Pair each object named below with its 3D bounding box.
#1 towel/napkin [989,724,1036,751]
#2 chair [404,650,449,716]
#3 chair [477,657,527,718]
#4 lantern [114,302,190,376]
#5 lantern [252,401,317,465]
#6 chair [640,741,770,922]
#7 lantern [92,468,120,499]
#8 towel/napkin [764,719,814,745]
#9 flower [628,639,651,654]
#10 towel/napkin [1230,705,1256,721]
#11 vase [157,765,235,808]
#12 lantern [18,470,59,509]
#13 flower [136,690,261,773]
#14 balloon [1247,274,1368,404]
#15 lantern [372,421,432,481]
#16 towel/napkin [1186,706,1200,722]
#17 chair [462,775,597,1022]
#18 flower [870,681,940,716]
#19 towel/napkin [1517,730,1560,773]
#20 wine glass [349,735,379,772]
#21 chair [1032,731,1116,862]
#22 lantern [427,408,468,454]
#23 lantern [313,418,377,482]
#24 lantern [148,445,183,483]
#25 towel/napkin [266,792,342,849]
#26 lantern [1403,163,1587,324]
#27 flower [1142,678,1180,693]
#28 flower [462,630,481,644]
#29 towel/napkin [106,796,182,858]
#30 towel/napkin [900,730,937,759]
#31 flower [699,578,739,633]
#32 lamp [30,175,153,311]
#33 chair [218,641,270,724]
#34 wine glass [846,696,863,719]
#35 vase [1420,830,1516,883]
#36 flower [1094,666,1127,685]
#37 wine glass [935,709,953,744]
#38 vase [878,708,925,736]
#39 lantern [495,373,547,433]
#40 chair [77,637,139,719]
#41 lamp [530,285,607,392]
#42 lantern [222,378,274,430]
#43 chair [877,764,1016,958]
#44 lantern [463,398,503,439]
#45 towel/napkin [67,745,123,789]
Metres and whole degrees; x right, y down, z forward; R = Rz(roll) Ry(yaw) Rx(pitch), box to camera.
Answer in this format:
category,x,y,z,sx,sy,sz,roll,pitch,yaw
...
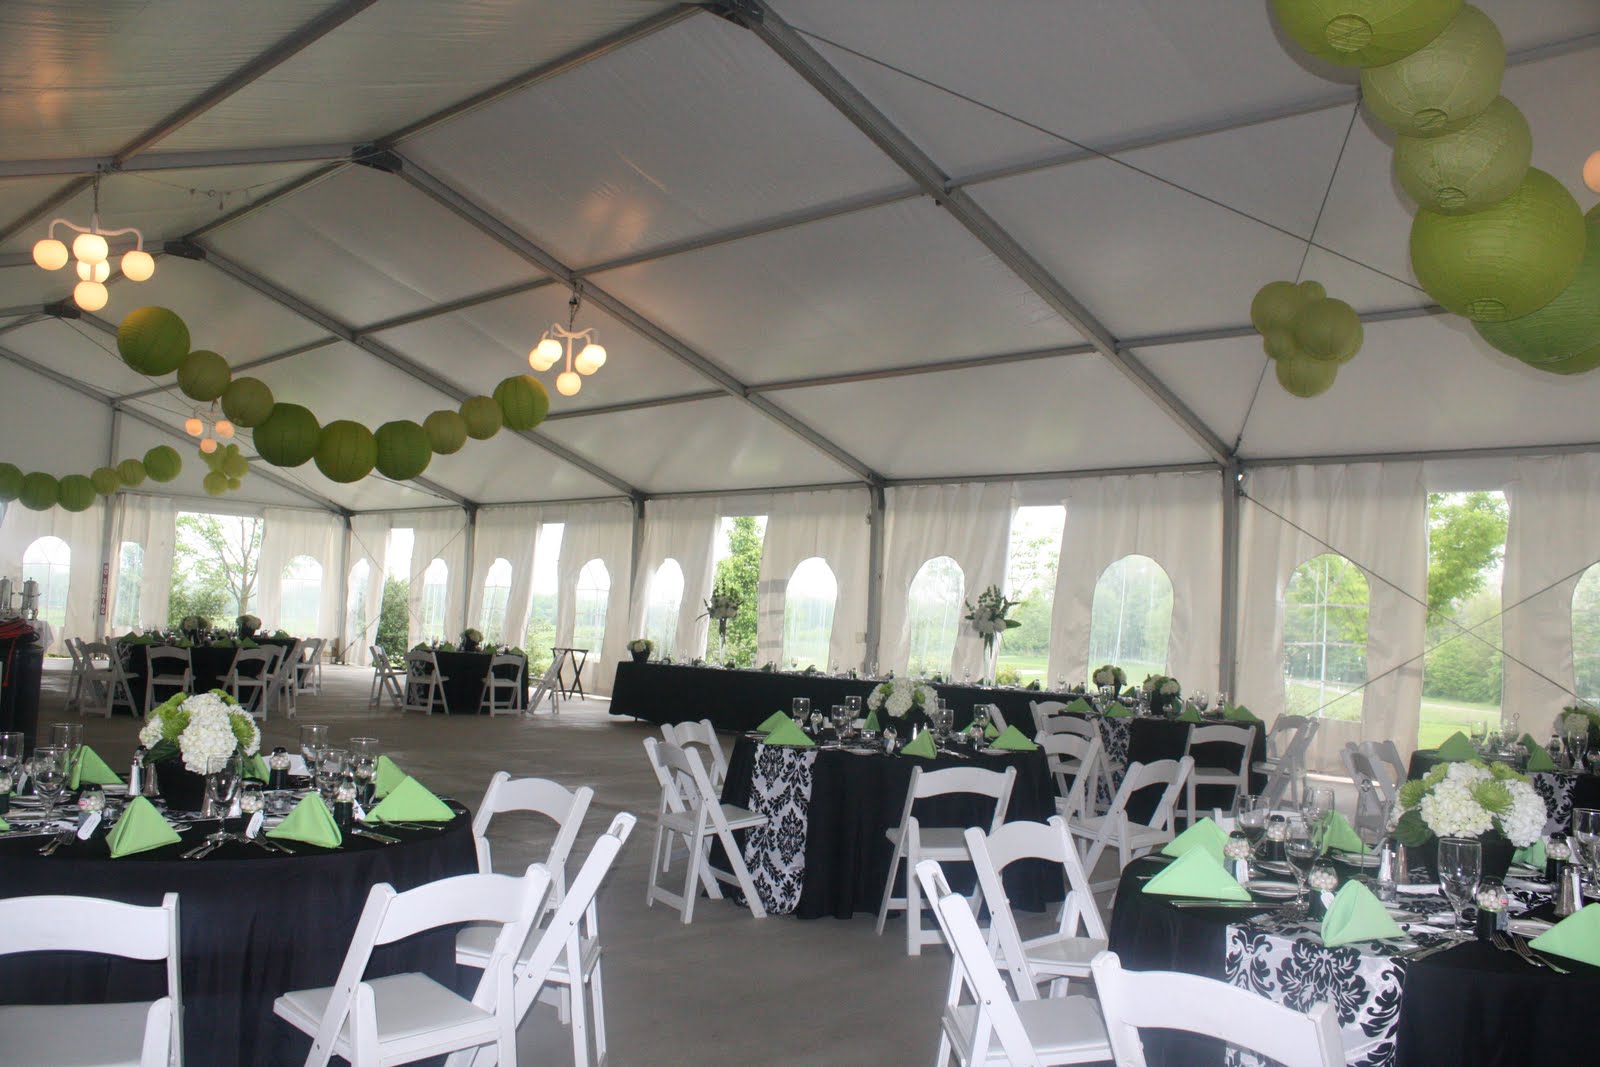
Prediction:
category,x,y,z,sx,sy,sz,roll,pitch,yaw
towel/napkin,1.321,1.288,6.497,0.260,0.159,0.165,-13,-3,24
chair,-4.847,1.916,13.714,0.594,0.826,0.476,0,-7,29
chair,-3.869,1.991,13.853,0.521,1.034,0.715,1,1,-30
lantern,-5.188,-1.527,8.433,0.530,0.647,0.563,-2,2,-18
lantern,-4.313,-0.826,9.021,0.475,0.613,0.500,1,0,-2
chair,-0.542,1.740,6.156,0.603,0.979,0.637,-1,-4,37
lantern,-8.827,-0.683,13.310,0.272,0.320,0.386,7,-8,-33
towel/napkin,-0.048,1.207,6.250,0.182,0.093,0.175,6,-6,-36
flower,-2.099,1.517,13.905,0.265,0.213,0.402,4,-7,-5
towel/napkin,3.733,1.536,8.819,0.174,0.119,0.182,-5,-13,29
vase,-2.428,0.976,4.161,0.190,0.167,0.232,2,-10,-10
lantern,-9.252,-0.526,12.694,0.403,0.535,0.431,-1,1,13
flower,-2.337,0.737,4.091,0.317,0.235,0.354,7,0,-6
balloon,2.875,-1.141,5.861,0.505,0.671,0.528,8,-8,-40
lantern,-3.495,-0.731,9.463,0.457,0.604,0.489,-1,1,10
towel/napkin,3.286,1.509,8.724,0.099,0.083,0.106,-1,-5,13
chair,-1.150,1.576,4.493,0.635,0.847,0.636,-11,-1,-7
flower,0.682,1.087,6.881,0.346,0.258,0.385,-3,-7,33
towel/napkin,4.609,1.366,6.498,0.232,0.177,0.239,0,-1,39
wine glass,-1.763,0.901,4.239,0.113,0.124,0.210,6,-7,-22
chair,2.375,2.022,8.376,0.769,0.719,0.587,14,-4,45
lantern,-3.330,-0.982,9.811,0.411,0.421,0.310,9,-8,-41
lantern,-3.889,-0.701,9.121,0.477,0.625,0.509,0,1,3
lantern,-8.061,-0.896,13.216,0.374,0.462,0.730,7,-8,-34
towel/napkin,-1.800,1.083,3.870,0.204,0.108,0.219,6,2,9
lantern,2.778,-1.084,4.340,0.565,0.737,0.612,1,-3,5
flower,3.163,1.323,9.110,0.191,0.105,0.164,8,-2,31
flower,-4.435,1.422,14.243,0.205,0.224,0.189,-1,-3,24
towel/napkin,-2.333,1.051,3.742,0.203,0.198,0.194,-4,-6,-16
towel/napkin,0.714,1.296,6.257,0.203,0.206,0.124,3,-34,10
flower,-1.061,1.013,14.119,0.401,0.657,1.241,4,-7,-7
lamp,-5.085,-2.059,7.553,0.646,0.941,0.677,0,-2,-22
chair,-6.347,1.730,12.099,0.536,0.714,0.501,-5,-10,39
wine glass,0.349,1.092,6.555,0.049,0.120,0.251,2,-7,16
vase,2.312,1.109,3.610,0.240,0.226,0.279,1,-8,-2
flower,2.963,1.359,9.953,0.322,0.194,0.256,3,-7,2
wine glass,0.954,1.262,6.878,0.145,0.185,0.156,-1,-6,15
vase,0.732,1.323,7.312,0.284,0.309,0.172,2,-4,-14
lantern,-2.608,-1.235,10.007,0.449,0.559,0.477,-1,1,-7
chair,-8.036,1.604,12.036,0.468,0.915,0.630,0,-3,-10
lamp,-2.016,-1.704,9.302,0.605,0.976,0.675,3,-2,38
lantern,-4.675,-1.099,8.982,0.390,0.501,0.404,4,-14,-24
chair,0.785,1.751,5.677,0.705,0.942,0.703,11,-5,-17
lantern,-2.982,-1.091,9.935,0.330,0.427,0.339,8,11,42
towel/napkin,-3.005,1.021,4.510,0.188,0.181,0.169,-4,-1,10
